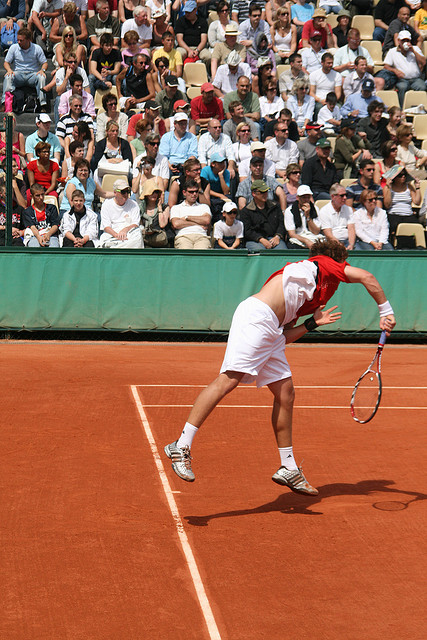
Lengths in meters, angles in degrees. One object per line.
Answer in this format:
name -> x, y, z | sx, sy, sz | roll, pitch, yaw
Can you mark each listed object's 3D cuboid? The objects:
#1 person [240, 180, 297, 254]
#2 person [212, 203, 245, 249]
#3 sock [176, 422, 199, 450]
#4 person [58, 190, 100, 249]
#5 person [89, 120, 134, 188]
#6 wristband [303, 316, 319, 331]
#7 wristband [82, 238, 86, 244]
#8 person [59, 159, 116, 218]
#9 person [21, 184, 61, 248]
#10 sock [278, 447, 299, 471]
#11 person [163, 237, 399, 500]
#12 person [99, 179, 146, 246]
person -> 0.864, -1.575, 11.522 | 0.788, 1.475, 0.918 | -5, 12, 2
person -> 0.236, -1.508, 11.408 | 0.590, 0.829, 0.550 | -7, 20, -24
sock -> -0.176, 0.731, 4.445 | 0.122, 0.167, 0.119 | 2, 6, -6
person -> -2.174, -1.638, 11.260 | 0.672, 0.906, 0.651 | 1, 6, -13
person -> -1.675, -2.915, 12.093 | 0.749, 1.091, 0.680 | 2, 30, 8
wristband -> 0.655, 0.020, 4.729 | 0.074, 0.080, 0.099 | -46, 8, -6
wristband -> -2.098, -1.291, 11.265 | 0.042, 0.090, 0.026 | 1, 6, -11
person -> -2.093, -2.172, 11.578 | 1.105, 1.065, 0.369 | -5, 14, -37
person -> -2.813, -1.676, 11.226 | 0.635, 0.967, 0.588 | 1, 6, -11
sock -> 0.514, 0.933, 4.685 | 0.135, 0.163, 0.109 | -2, 7, -38
person -> 0.409, 0.377, 4.649 | 1.471, 1.893, 0.518 | 1, 6, -14
person -> -1.483, -1.683, 11.302 | 0.804, 1.135, 0.921 | 2, 17, -13
